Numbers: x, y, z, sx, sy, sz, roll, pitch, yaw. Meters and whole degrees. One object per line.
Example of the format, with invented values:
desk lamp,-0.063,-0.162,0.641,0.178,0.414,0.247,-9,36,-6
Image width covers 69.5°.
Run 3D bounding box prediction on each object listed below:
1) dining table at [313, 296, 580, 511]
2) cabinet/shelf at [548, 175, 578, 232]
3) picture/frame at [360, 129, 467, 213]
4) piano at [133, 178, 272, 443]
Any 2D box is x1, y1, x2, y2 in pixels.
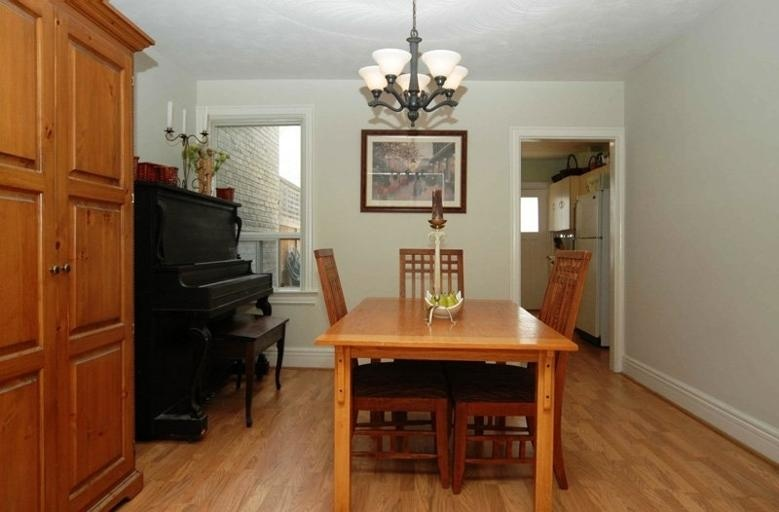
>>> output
dining table,0.342,0.607,3.739,1.160,0.930,1.914,0,0,2
cabinet/shelf,2.384,-0.708,7.663,0.296,0.777,0.901,1,-1,3
picture/frame,0.248,-0.857,5.510,1.005,0.719,0.044,0,0,-2
piano,-1.498,0.493,4.412,0.687,1.990,2.138,-1,-1,3
